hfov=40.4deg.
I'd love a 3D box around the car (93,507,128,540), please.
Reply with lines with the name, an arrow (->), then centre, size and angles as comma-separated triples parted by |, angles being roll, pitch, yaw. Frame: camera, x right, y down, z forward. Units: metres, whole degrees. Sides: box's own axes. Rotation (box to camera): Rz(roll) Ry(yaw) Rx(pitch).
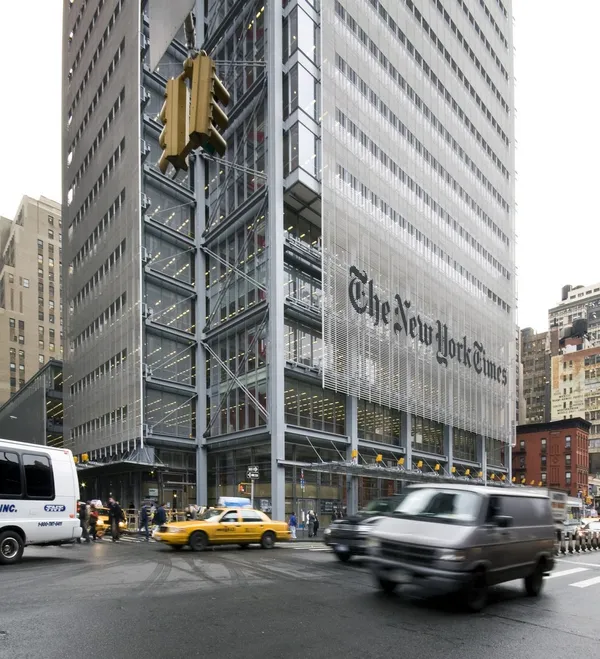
car -> -7.526, 7.648, 31.604 | 0.990, 1.046, 1.790 | 1, 1, -27

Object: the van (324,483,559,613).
van -> 3.052, 4.049, 15.128 | 2.039, 1.814, 3.132 | -14, -27, 43
